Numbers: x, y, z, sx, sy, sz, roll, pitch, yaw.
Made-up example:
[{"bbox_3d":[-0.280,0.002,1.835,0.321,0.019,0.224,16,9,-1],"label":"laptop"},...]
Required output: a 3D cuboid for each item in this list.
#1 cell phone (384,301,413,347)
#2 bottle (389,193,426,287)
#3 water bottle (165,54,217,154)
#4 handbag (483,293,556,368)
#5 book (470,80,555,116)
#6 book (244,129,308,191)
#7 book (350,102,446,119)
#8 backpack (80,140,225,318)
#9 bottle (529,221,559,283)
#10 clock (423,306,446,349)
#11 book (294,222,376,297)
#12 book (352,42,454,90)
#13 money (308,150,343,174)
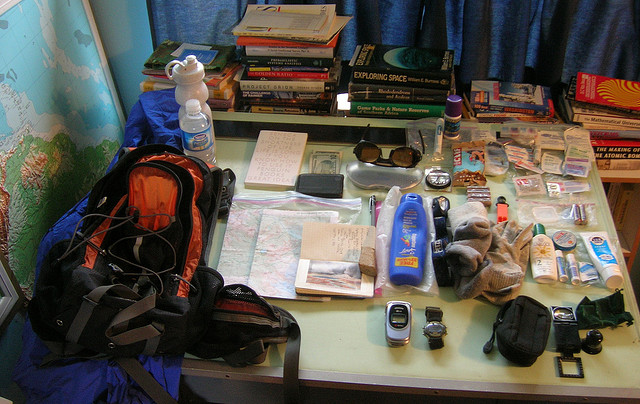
[{"bbox_3d":[0.217,0.340,1.296,0.080,0.106,0.097,4,9,9],"label":"cell phone"},{"bbox_3d":[0.278,0.112,1.436,0.117,0.312,0.074,3,-31,11],"label":"bottle"},{"bbox_3d":[-0.443,-0.324,1.663,0.151,0.371,0.134,-2,38,2],"label":"water bottle"},{"bbox_3d":[0.539,0.352,1.265,0.166,0.165,0.127,6,10,20],"label":"handbag"},{"bbox_3d":[0.730,-0.403,1.780,0.253,0.037,0.157,5,29,9],"label":"book"},{"bbox_3d":[-0.159,-0.147,1.671,0.188,0.226,0.030,7,-31,8],"label":"book"},{"bbox_3d":[0.295,-0.351,1.784,0.357,0.058,0.025,3,10,9],"label":"book"},{"bbox_3d":[-0.499,0.057,1.357,0.402,0.441,0.388,1,9,-9],"label":"backpack"},{"bbox_3d":[0.683,0.149,1.423,0.079,0.199,0.047,4,-36,11],"label":"bottle"},{"bbox_3d":[0.327,0.338,1.325,0.070,0.116,0.125,-1,-37,10],"label":"clock"},{"bbox_3d":[0.050,0.175,1.401,0.243,0.192,0.156,3,9,2],"label":"book"},{"bbox_3d":[0.321,-0.524,1.776,0.368,0.181,0.145,4,10,12],"label":"book"},{"bbox_3d":[0.016,-0.144,1.655,0.116,0.079,0.076,2,9,2],"label":"money"}]
